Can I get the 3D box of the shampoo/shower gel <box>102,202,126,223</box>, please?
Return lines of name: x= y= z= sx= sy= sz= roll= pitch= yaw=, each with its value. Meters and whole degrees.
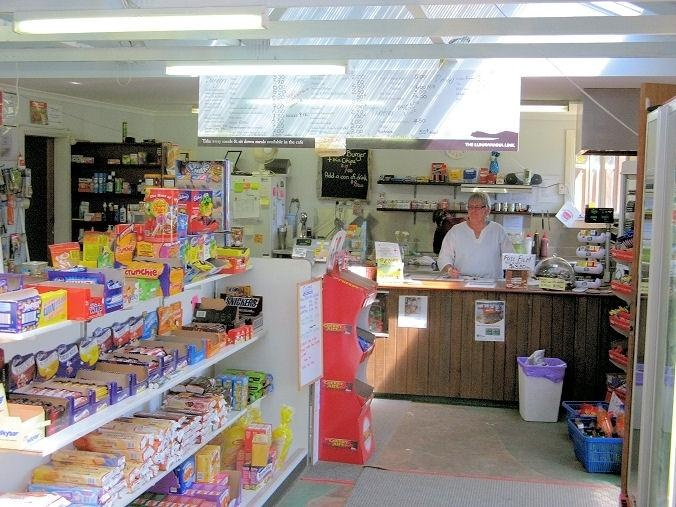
shampoo/shower gel: x=-4.108 y=-0.737 z=10.059 sx=0.376 sy=0.361 sz=0.123 roll=1 pitch=-4 yaw=-3

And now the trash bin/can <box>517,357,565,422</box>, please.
trash bin/can: x=2.096 y=1.407 z=5.999 sx=0.635 sy=0.767 sz=0.604 roll=1 pitch=0 yaw=9

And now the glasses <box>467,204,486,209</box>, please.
glasses: x=1.715 y=-0.560 z=6.753 sx=0.200 sy=0.075 sz=0.095 roll=4 pitch=15 yaw=12

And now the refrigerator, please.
refrigerator: x=-1.421 y=-0.727 z=9.704 sx=0.838 sy=1.386 sz=0.847 roll=2 pitch=13 yaw=2

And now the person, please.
person: x=1.744 y=-0.089 z=6.875 sx=0.995 sy=1.258 sz=0.745 roll=1 pitch=5 yaw=7

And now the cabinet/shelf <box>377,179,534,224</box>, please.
cabinet/shelf: x=2.022 y=-0.874 z=9.677 sx=2.610 sy=0.700 sz=0.495 roll=3 pitch=-1 yaw=16

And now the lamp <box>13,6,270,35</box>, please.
lamp: x=-1.392 y=-1.589 z=3.799 sx=1.847 sy=0.106 sz=0.285 roll=4 pitch=15 yaw=11

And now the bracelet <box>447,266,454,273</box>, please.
bracelet: x=1.343 y=0.194 z=6.590 sx=0.065 sy=0.061 sz=0.065 roll=-2 pitch=11 yaw=-16

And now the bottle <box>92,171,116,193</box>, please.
bottle: x=-4.237 y=-1.254 z=10.078 sx=0.445 sy=0.443 sz=0.315 roll=1 pitch=1 yaw=-16

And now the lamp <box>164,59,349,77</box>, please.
lamp: x=-0.802 y=-1.764 z=5.265 sx=1.730 sy=0.109 sz=0.384 roll=6 pitch=16 yaw=16

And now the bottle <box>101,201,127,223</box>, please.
bottle: x=-4.111 y=-0.735 z=10.056 sx=0.490 sy=0.455 sz=0.159 roll=1 pitch=-4 yaw=-5

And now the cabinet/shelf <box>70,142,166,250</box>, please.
cabinet/shelf: x=-4.043 y=-1.147 z=10.037 sx=1.661 sy=1.832 sz=0.533 roll=1 pitch=14 yaw=1

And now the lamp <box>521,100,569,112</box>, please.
lamp: x=3.165 y=-2.222 z=8.270 sx=0.895 sy=0.150 sz=0.464 roll=-7 pitch=17 yaw=-27

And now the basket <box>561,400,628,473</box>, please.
basket: x=2.275 y=1.700 z=4.992 sx=0.326 sy=0.209 sz=0.497 roll=0 pitch=5 yaw=3

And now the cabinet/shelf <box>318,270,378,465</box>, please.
cabinet/shelf: x=0.092 y=1.014 z=4.983 sx=0.501 sy=1.654 sz=0.626 roll=2 pitch=15 yaw=3

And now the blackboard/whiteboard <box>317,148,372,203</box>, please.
blackboard/whiteboard: x=0.164 y=-1.388 z=9.773 sx=0.950 sy=0.960 sz=0.130 roll=2 pitch=1 yaw=13
